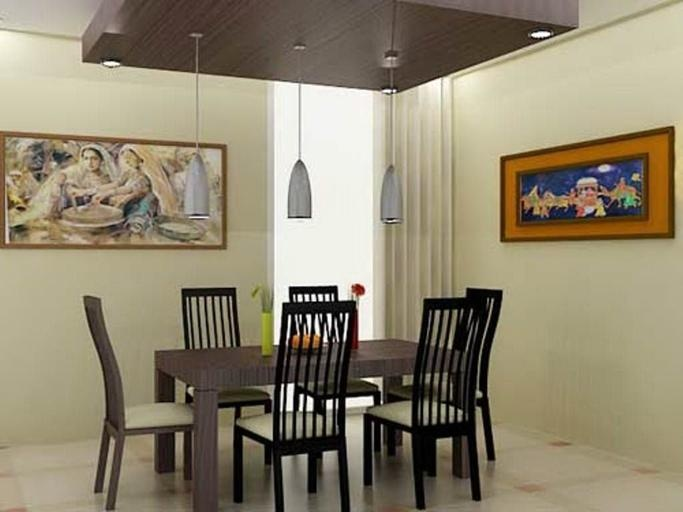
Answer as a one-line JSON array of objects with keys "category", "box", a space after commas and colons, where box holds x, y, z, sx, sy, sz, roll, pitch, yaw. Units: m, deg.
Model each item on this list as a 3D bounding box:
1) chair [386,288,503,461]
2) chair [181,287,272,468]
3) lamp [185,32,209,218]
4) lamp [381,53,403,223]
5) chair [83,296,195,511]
[{"category": "chair", "box": [0.533, 0.954, 4.018, 0.729, 1.366, 0.848, 3, -1, -35]}, {"category": "chair", "box": [-0.895, 0.876, 4.315, 0.459, 1.281, 0.602, -2, 1, -29]}, {"category": "lamp", "box": [-0.904, -0.812, 3.619, 0.173, 1.126, 0.177, -2, 10, -27]}, {"category": "lamp", "box": [0.343, -0.803, 3.971, 0.151, 1.141, 0.155, 11, 25, 30]}, {"category": "chair", "box": [-1.234, 0.860, 3.513, 0.667, 1.242, 0.432, 0, 3, -9]}]
